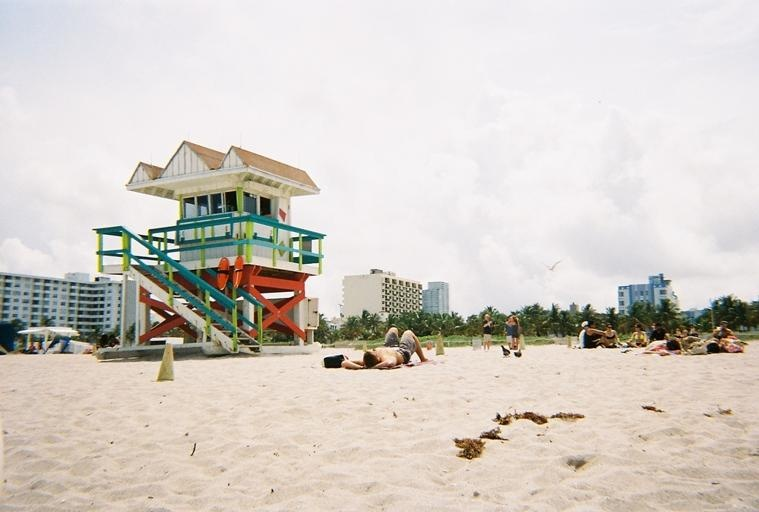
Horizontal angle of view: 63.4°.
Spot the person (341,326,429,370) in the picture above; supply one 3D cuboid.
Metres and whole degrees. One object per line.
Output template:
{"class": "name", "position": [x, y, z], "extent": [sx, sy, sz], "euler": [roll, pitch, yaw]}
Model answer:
{"class": "person", "position": [0.230, 2.525, 16.697], "extent": [1.010, 0.804, 2.171], "euler": [-4, -2, 32]}

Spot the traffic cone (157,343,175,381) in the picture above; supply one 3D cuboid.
{"class": "traffic cone", "position": [-5.110, 2.472, 14.643], "extent": [0.388, 0.877, 0.868], "euler": [-1, 1, -20]}

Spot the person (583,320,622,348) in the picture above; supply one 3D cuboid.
{"class": "person", "position": [8.346, 2.968, 23.322], "extent": [1.235, 0.816, 1.036], "euler": [0, -5, -17]}
